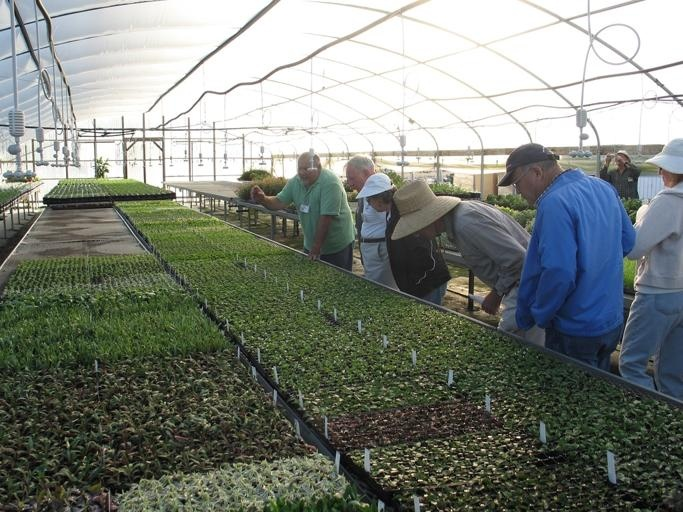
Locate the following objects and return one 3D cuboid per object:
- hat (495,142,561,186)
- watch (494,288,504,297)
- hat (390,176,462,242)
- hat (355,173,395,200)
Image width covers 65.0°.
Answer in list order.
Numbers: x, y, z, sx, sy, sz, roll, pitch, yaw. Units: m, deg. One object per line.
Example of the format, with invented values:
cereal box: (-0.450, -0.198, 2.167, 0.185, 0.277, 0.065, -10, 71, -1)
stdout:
hat: (1.336, -0.701, 3.882, 0.404, 0.208, 0.287, -18, 10, 18)
watch: (1.266, 0.293, 4.253, 0.057, 0.027, 0.076, 11, -2, -2)
hat: (0.680, -0.340, 4.611, 0.523, 0.278, 0.528, -35, 3, -12)
hat: (0.403, -0.786, 6.074, 0.351, 0.181, 0.263, -6, -2, -20)
